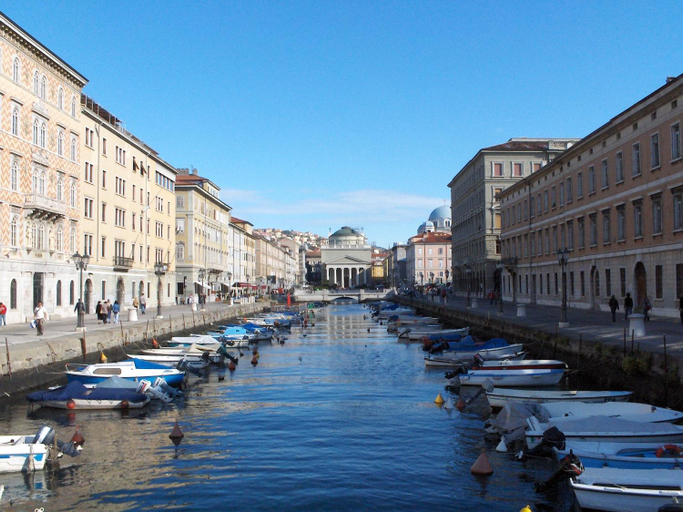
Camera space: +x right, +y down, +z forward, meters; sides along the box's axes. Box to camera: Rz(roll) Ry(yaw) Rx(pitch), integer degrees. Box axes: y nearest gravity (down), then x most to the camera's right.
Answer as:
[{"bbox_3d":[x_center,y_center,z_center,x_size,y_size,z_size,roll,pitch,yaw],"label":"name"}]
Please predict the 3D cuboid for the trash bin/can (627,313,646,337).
[{"bbox_3d":[15.882,3.752,39.029,1.049,1.552,0.975,0,-2,-1],"label":"trash bin/can"}]

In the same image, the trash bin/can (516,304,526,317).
[{"bbox_3d":[14.327,4.392,58.419,0.853,1.029,0.894,-3,-5,28],"label":"trash bin/can"}]
